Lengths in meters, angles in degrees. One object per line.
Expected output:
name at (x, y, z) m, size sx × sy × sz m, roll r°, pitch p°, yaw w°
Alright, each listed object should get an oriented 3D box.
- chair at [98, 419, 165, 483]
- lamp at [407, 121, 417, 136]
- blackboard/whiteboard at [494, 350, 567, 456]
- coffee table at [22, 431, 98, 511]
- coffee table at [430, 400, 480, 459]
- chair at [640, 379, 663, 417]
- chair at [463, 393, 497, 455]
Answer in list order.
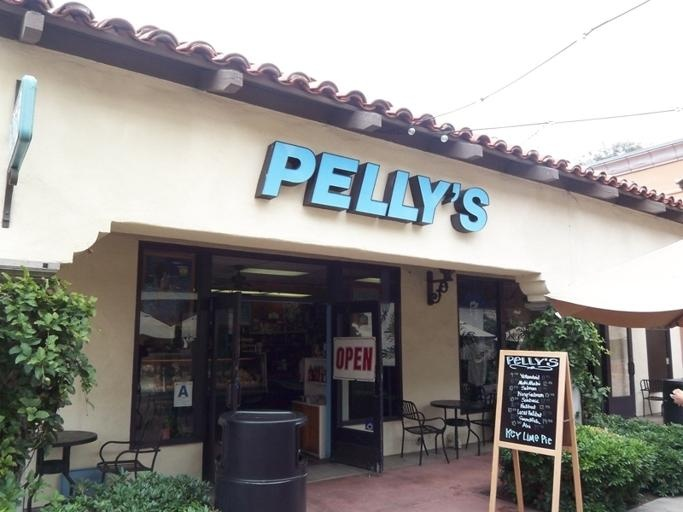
chair at (-2.618, 2.412, 7.024) m, size 0.671 × 0.918 × 0.647 m, roll 13°, pitch -17°, yaw -35°
lamp at (0.878, -1.573, 7.041) m, size 0.088 × 0.120 × 0.059 m, roll 12°, pitch 10°, yaw 27°
blackboard/whiteboard at (2.055, 1.570, 6.139) m, size 0.735 × 1.003 × 0.393 m, roll -5°, pitch -4°, yaw 40°
coffee table at (-3.150, 2.381, 6.477) m, size 0.622 × 0.669 × 0.894 m, roll 0°, pitch -4°, yaw -29°
coffee table at (2.024, 2.887, 9.681) m, size 0.928 × 0.853 × 0.968 m, roll 5°, pitch -10°, yaw -34°
chair at (7.211, 3.246, 13.096) m, size 0.404 × 0.897 × 1.083 m, roll -4°, pitch -4°, yaw 31°
chair at (2.487, 3.034, 10.385) m, size 0.538 × 0.859 × 0.519 m, roll -8°, pitch -13°, yaw 23°
